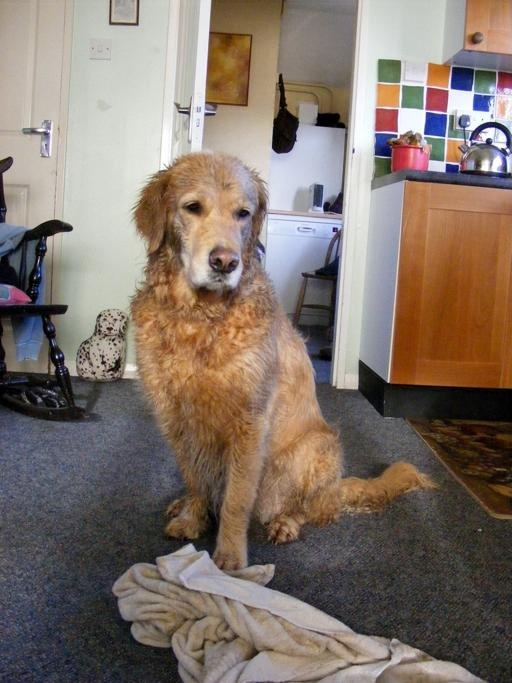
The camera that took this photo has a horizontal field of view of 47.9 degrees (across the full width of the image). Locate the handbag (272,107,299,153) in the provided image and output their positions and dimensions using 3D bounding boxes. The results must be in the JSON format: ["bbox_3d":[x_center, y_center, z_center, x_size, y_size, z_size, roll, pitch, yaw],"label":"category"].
[{"bbox_3d":[0.323,-2.309,6.323,0.257,0.445,0.151,3,7,1],"label":"handbag"}]

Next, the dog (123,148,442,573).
[{"bbox_3d":[0.037,0.035,1.572,0.659,1.000,0.483,-4,10,-44],"label":"dog"}]

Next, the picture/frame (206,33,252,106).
[{"bbox_3d":[-0.283,-2.704,5.758,0.541,0.659,0.020,16,26,27],"label":"picture/frame"}]
